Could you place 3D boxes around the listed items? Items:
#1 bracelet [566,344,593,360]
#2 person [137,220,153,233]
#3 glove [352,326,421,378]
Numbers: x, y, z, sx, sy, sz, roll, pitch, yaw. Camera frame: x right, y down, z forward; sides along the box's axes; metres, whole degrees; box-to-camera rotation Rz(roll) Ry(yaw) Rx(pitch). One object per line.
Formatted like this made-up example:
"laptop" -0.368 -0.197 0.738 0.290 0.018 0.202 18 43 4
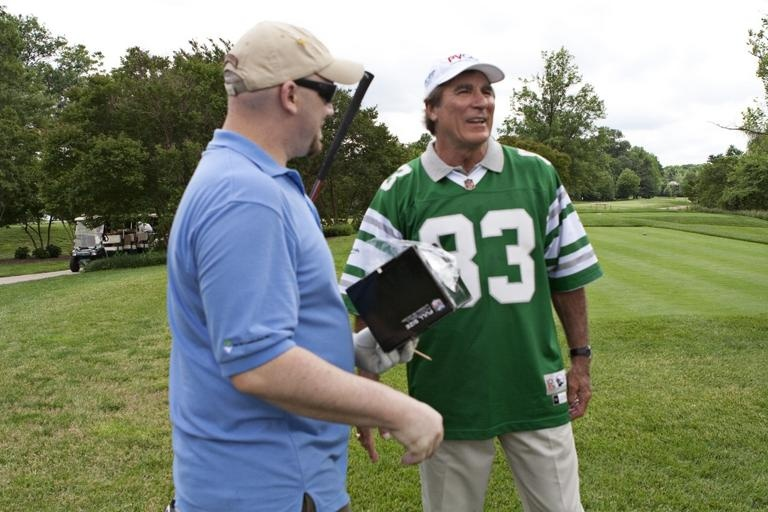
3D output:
"bracelet" 1.504 0.731 4.292 0.121 0.068 0.114 -4 -1 -12
"person" -13.154 -1.591 30.932 0.533 0.322 0.758 8 12 -38
"glove" 0.012 0.594 3.546 0.213 0.197 0.395 -8 -17 -34
